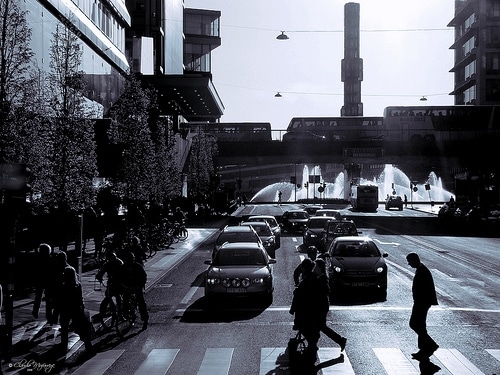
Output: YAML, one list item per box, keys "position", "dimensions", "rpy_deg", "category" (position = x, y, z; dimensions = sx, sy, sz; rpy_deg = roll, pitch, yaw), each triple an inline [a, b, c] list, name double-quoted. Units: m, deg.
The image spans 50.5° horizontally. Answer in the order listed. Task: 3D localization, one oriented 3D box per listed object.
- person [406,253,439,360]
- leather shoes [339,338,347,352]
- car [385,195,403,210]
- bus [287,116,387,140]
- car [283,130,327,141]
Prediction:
- position: [3.936, 2.665, 12.080]
  dimensions: [0.616, 2.448, 0.791]
  rpy_deg: [-2, -1, 15]
  category: "person"
- position: [2.108, 3.551, 12.094]
  dimensions: [0.131, 0.432, 0.176]
  rpy_deg: [1, -4, 1]
  category: "leather shoes"
- position: [21.041, 2.317, 77.534]
  dimensions: [1.509, 1.401, 2.671]
  rpy_deg: [1, 4, 10]
  category: "car"
- position: [11.181, -7.369, 68.697]
  dimensions: [12.591, 3.469, 2.832]
  rpy_deg: [0, 12, 9]
  category: "bus"
- position: [6.294, -6.243, 65.073]
  dimensions: [4.542, 1.367, 2.659]
  rpy_deg: [0, 3, 2]
  category: "car"
